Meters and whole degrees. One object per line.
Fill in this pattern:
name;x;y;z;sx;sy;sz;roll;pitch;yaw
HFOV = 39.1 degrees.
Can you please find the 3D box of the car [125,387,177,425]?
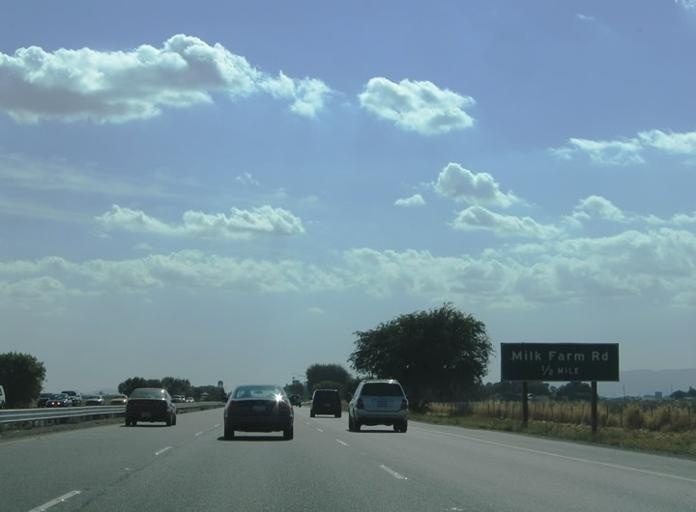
car;-9.580;7.089;45.893;1.734;1.751;4.278;2;-8;-15
